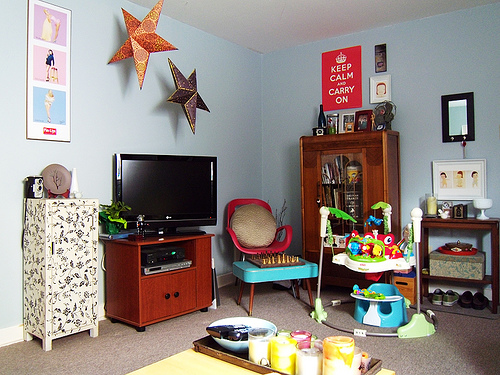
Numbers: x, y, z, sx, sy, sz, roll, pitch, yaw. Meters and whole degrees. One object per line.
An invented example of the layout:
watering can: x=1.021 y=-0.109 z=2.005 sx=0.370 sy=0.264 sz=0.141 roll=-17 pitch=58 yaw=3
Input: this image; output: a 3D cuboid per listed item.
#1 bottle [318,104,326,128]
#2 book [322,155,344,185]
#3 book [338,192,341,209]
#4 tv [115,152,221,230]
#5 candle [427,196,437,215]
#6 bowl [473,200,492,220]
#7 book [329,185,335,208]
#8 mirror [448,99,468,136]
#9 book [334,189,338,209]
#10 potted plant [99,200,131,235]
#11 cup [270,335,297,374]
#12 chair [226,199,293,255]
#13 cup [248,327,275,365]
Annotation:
bottle: x=0.891 y=-0.885 z=4.671 sx=0.090 sy=0.303 sz=0.230 roll=0 pitch=4 yaw=11
book: x=0.888 y=-0.199 z=4.236 sx=0.267 sy=0.296 sz=0.066 roll=1 pitch=3 yaw=33
book: x=1.028 y=0.147 z=4.330 sx=0.032 sy=0.190 sz=0.010 roll=3 pitch=5 yaw=36
tv: x=-0.858 y=0.034 z=3.785 sx=0.751 sy=0.566 sz=0.054 roll=-2 pitch=1 yaw=-31
candle: x=1.987 y=0.197 z=4.099 sx=0.112 sy=0.188 sz=0.054 roll=-1 pitch=4 yaw=-3
bowl: x=2.376 y=0.220 z=3.861 sx=0.179 sy=0.215 sz=0.185 roll=0 pitch=1 yaw=0
book: x=0.953 y=0.092 z=4.362 sx=0.060 sy=0.248 sz=0.011 roll=2 pitch=5 yaw=25
mirror: x=2.287 y=-0.787 z=4.157 sx=0.257 sy=0.528 sz=0.048 roll=1 pitch=47 yaw=31
book: x=0.991 y=0.123 z=4.345 sx=0.043 sy=0.209 sz=0.017 roll=2 pitch=5 yaw=32
potted plant: x=-1.279 y=0.259 z=3.564 sx=0.297 sy=0.322 sz=0.300 roll=1 pitch=-1 yaw=-29
cup: x=0.150 y=0.748 z=1.750 sx=0.135 sy=0.168 sz=0.138 roll=1 pitch=0 yaw=0
chair: x=0.169 y=0.391 z=4.539 sx=0.689 sy=0.977 sz=0.669 roll=0 pitch=-8 yaw=-18
cup: x=0.059 y=0.743 z=1.795 sx=0.118 sy=0.141 sz=0.119 roll=2 pitch=-2 yaw=0
